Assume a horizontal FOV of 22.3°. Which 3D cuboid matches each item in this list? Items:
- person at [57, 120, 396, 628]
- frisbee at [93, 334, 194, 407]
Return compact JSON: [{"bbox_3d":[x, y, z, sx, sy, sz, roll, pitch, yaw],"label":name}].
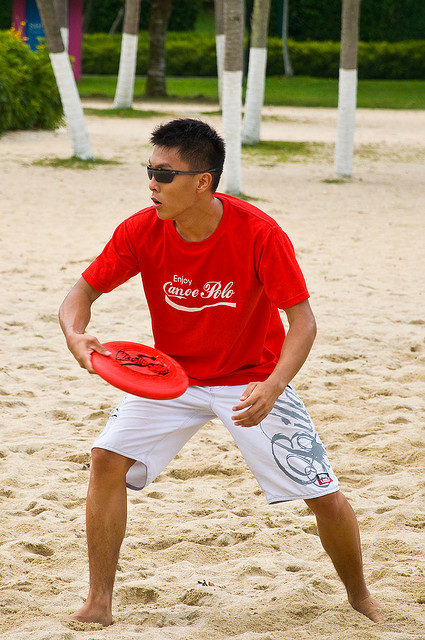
[{"bbox_3d":[-0.007,0.178,4.101,1.119,1.823,0.760,-2,16,-8],"label":"person"},{"bbox_3d":[-0.272,0.190,4.098,0.421,0.075,0.400,7,25,-30],"label":"frisbee"}]
